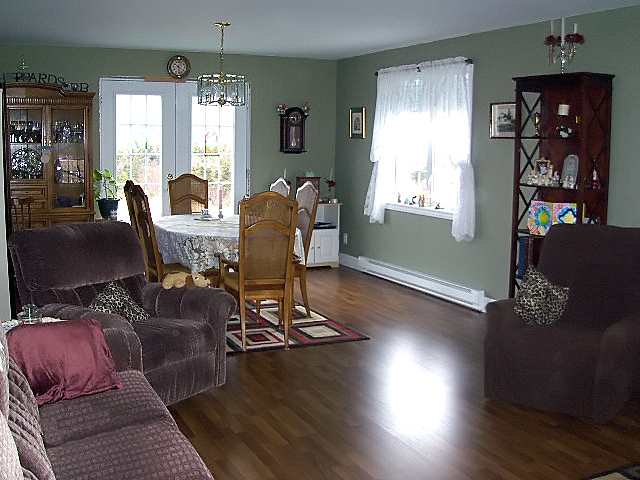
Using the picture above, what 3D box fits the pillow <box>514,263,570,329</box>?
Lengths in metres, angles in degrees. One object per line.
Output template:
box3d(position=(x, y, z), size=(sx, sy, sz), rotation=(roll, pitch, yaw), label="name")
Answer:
box3d(position=(1.607, 0.394, 3.408), size=(0.338, 0.378, 0.109), rotation=(25, -16, -8), label="pillow")

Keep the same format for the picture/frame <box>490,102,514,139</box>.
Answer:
box3d(position=(1.985, -1.300, 5.125), size=(0.036, 0.407, 0.372), rotation=(-4, 8, -27), label="picture/frame")

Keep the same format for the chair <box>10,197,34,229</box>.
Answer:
box3d(position=(-3.768, -0.320, 6.087), size=(0.333, 0.284, 0.272), rotation=(12, 30, 29), label="chair")

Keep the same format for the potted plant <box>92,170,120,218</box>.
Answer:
box3d(position=(-3.008, -0.660, 6.590), size=(0.318, 0.714, 0.325), rotation=(6, 10, 31), label="potted plant")

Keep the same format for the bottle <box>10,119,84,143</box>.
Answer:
box3d(position=(-3.509, -1.395, 6.078), size=(0.860, 0.310, 0.058), rotation=(-1, 9, -12), label="bottle")

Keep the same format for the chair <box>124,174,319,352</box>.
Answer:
box3d(position=(-1.047, 0.132, 4.654), size=(1.235, 1.177, 1.811), rotation=(-2, 4, -18), label="chair")

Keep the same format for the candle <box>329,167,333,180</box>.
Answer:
box3d(position=(0.191, -1.094, 7.738), size=(0.043, 0.192, 0.093), rotation=(8, 12, 39), label="candle")

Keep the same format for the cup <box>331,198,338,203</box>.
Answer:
box3d(position=(0.233, -0.618, 7.365), size=(0.097, 0.096, 0.099), rotation=(2, 11, 0), label="cup")

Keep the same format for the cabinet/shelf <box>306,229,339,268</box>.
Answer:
box3d(position=(-0.035, 0.096, 7.360), size=(0.582, 0.599, 0.323), rotation=(-3, 17, -11), label="cabinet/shelf")

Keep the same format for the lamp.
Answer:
box3d(position=(-1.057, -1.883, 5.089), size=(0.496, 0.878, 0.511), rotation=(-3, 11, -14), label="lamp")

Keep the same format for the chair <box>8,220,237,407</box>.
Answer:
box3d(position=(-1.367, 0.486, 3.213), size=(1.140, 1.164, 1.053), rotation=(5, 7, 21), label="chair")
